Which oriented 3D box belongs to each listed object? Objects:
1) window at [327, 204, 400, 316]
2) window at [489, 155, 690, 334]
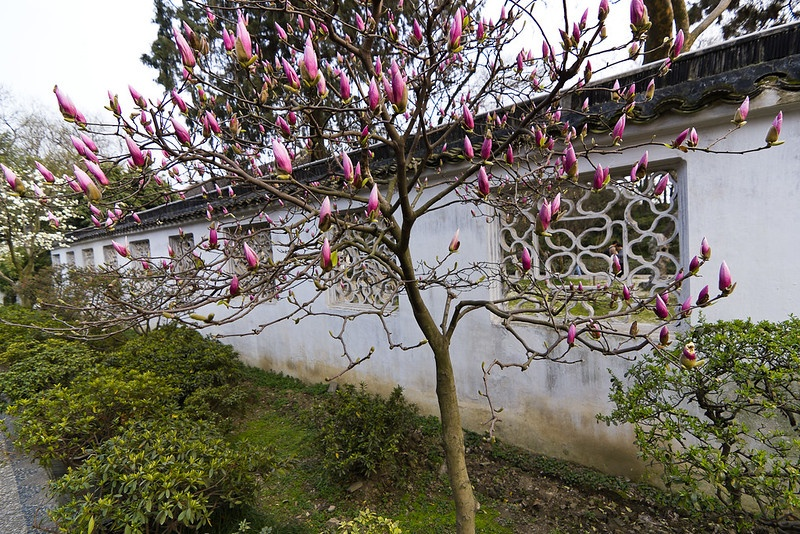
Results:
[{"bbox_3d":[-0.378,-0.098,6.002,1.404,1.534,0.069,4,11,43],"label":"window"},{"bbox_3d":[2.178,-0.320,6.187,1.739,0.069,1.903,-8,-39,6],"label":"window"}]
